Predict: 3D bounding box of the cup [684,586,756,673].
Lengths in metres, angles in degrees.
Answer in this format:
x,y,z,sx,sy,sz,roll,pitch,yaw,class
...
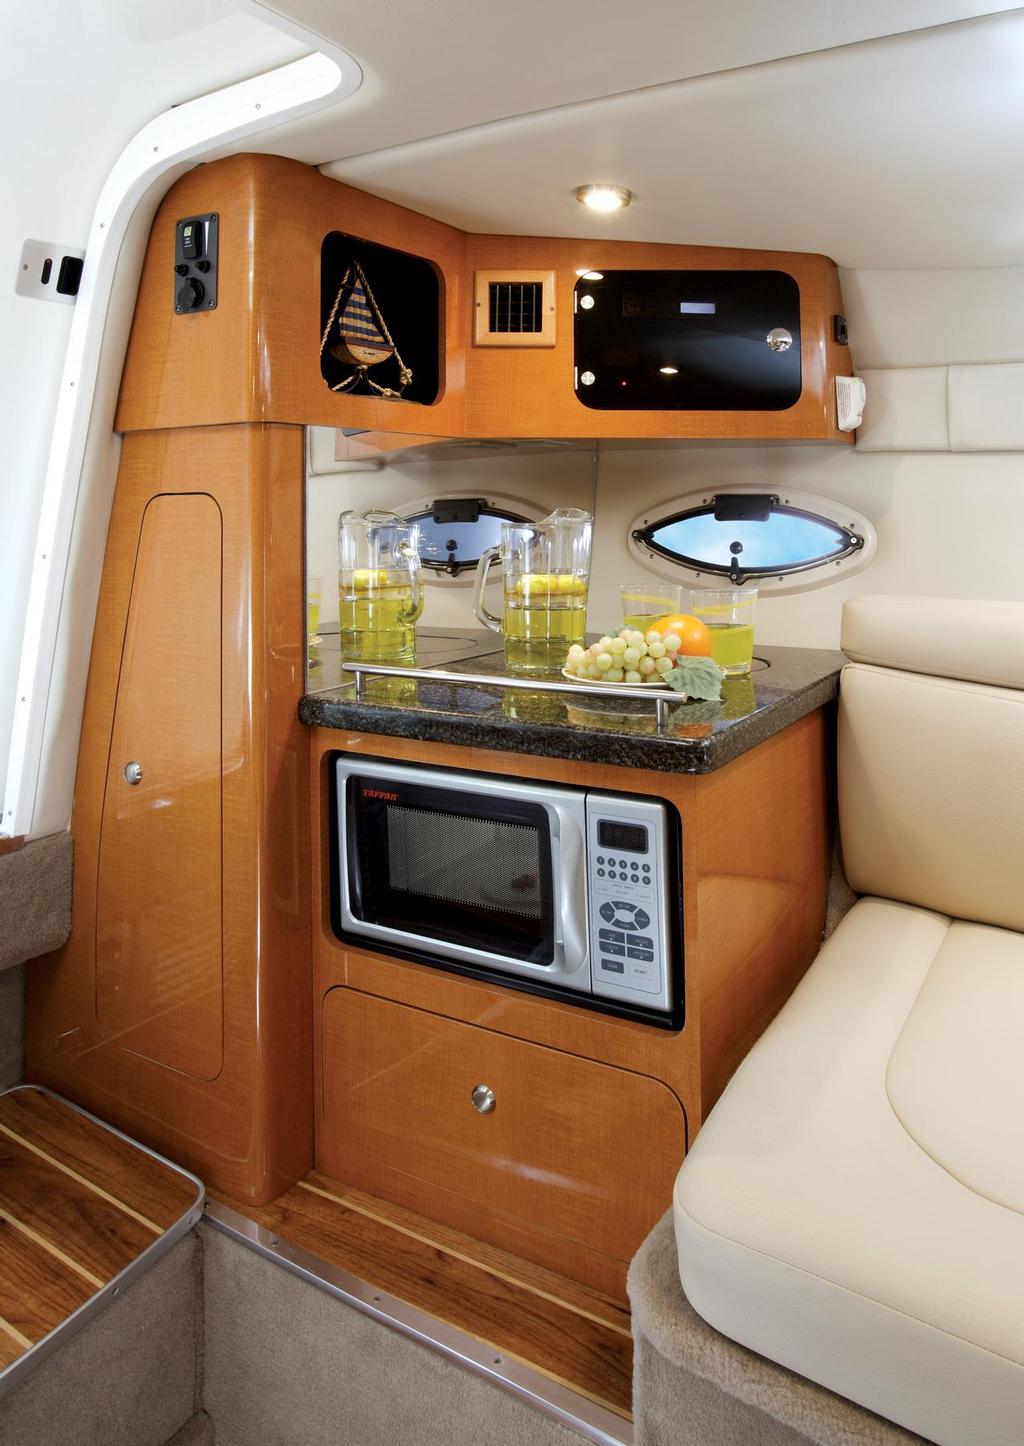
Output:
x,y,z,sx,sy,sz,roll,pitch,yaw,class
0.308,-0.144,1.525,0.099,0.124,0.124,-4,3,-14,cup

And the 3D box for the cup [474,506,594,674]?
x,y,z,sx,sy,sz,roll,pitch,yaw,class
0.029,-0.198,1.558,0.171,0.227,0.107,-4,10,5,cup

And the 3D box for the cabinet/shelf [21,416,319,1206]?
x,y,z,sx,sy,sz,roll,pitch,yaw,class
-0.531,0.126,1.623,0.536,1.119,0.205,2,12,32,cabinet/shelf

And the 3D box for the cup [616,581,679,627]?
x,y,z,sx,sy,sz,roll,pitch,yaw,class
0.196,-0.173,1.517,0.056,0.054,0.071,0,0,-18,cup

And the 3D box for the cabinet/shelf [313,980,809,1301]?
x,y,z,sx,sy,sz,roll,pitch,yaw,class
-0.019,0.392,1.405,0.573,0.357,0.305,2,-2,35,cabinet/shelf

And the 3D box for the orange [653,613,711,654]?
x,y,z,sx,sy,sz,roll,pitch,yaw,class
0.227,-0.117,1.427,0.059,0.072,0.059,-12,1,-11,orange

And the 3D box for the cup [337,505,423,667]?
x,y,z,sx,sy,sz,roll,pitch,yaw,class
-0.211,-0.212,1.647,0.138,0.244,0.190,-6,10,-9,cup
